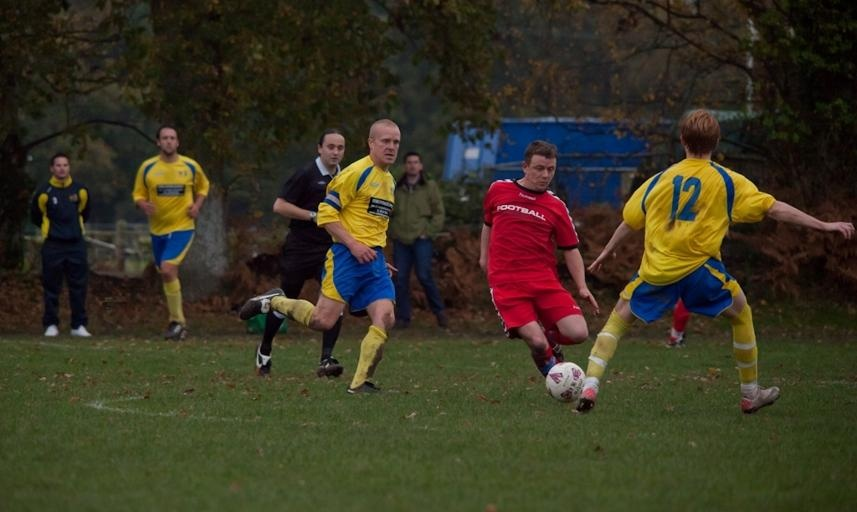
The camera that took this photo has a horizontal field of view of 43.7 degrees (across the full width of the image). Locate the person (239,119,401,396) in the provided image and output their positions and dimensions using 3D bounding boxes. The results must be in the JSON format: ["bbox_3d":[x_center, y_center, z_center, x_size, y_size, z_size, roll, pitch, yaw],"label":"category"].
[{"bbox_3d":[-1.187,-0.052,13.847,1.586,3.470,0.704,4,4,27],"label":"person"}]

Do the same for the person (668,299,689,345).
[{"bbox_3d":[3.731,0.971,15.834,0.285,0.765,0.839,4,-14,11],"label":"person"}]

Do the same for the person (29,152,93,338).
[{"bbox_3d":[-5.718,-0.200,16.673,0.880,2.795,0.654,1,4,-21],"label":"person"}]

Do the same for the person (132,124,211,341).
[{"bbox_3d":[-4.047,-0.408,16.766,1.090,3.260,0.690,1,3,-13],"label":"person"}]

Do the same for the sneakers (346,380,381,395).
[{"bbox_3d":[-0.812,1.662,13.687,0.475,0.203,0.157,-2,5,-3],"label":"sneakers"}]

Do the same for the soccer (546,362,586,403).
[{"bbox_3d":[1.761,1.574,13.385,0.608,0.467,0.609,-9,-21,18],"label":"soccer"}]

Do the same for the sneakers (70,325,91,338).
[{"bbox_3d":[-5.404,1.133,16.659,0.303,0.165,0.365,0,4,-26],"label":"sneakers"}]

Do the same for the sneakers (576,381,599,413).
[{"bbox_3d":[1.946,1.693,13.002,0.236,0.332,0.139,20,-10,33],"label":"sneakers"}]

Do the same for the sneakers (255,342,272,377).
[{"bbox_3d":[-2.246,1.396,14.629,0.168,0.449,0.190,-2,-8,-23],"label":"sneakers"}]
